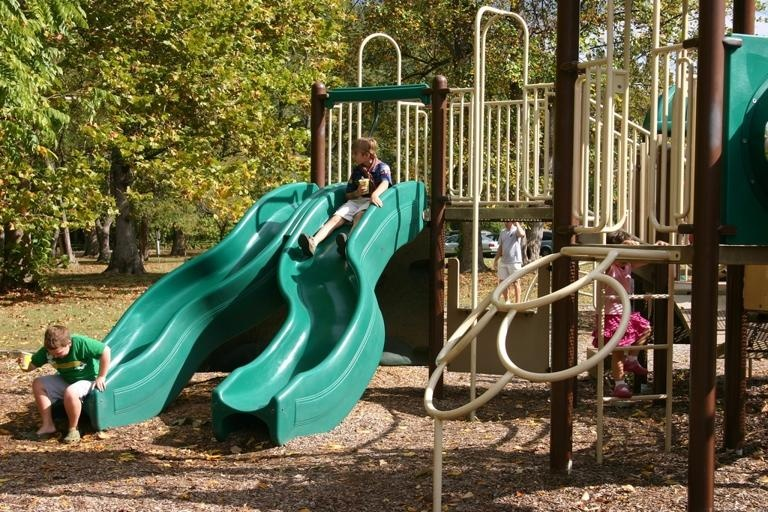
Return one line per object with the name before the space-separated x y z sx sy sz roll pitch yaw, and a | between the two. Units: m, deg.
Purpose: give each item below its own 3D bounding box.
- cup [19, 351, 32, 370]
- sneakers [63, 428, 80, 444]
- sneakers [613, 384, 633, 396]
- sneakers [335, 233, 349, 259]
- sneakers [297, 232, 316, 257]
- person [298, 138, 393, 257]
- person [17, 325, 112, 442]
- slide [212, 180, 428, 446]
cup | -3.662 1.075 9.293 0.146 0.202 0.162 -6 -9 23
sneakers | -3.110 1.800 9.068 0.166 0.124 0.173 -2 4 -20
sneakers | 2.535 1.415 9.512 0.139 0.162 0.376 -2 -9 -9
sneakers | -0.462 -0.105 10.228 0.117 0.274 0.112 7 15 16
sneakers | -0.857 -0.119 10.410 0.142 0.274 0.175 -1 14 30
person | -0.371 -0.773 10.811 0.737 1.039 1.609 5 24 25
person | -3.227 1.276 9.227 0.907 1.146 0.549 -1 4 -6
slide | -0.674 0.499 9.989 1.403 2.596 2.780 0 4 15
